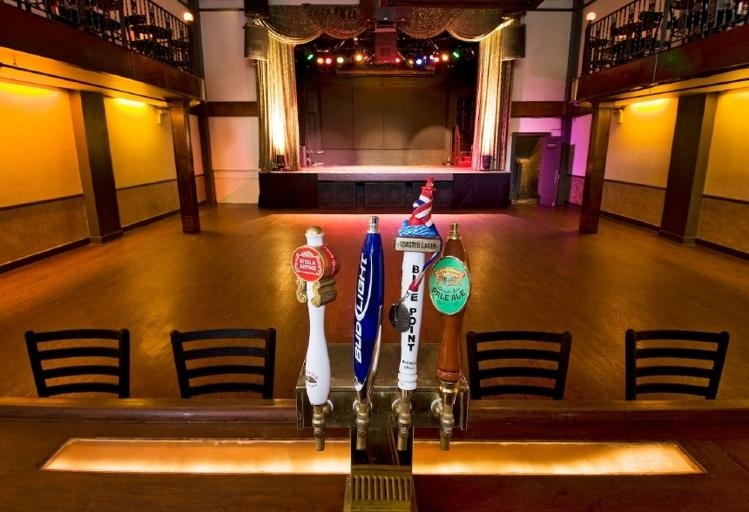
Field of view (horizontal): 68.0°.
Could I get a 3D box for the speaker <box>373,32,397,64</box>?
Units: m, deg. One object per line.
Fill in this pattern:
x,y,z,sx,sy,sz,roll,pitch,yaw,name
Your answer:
0.253,-4.641,12.420,0.585,0.513,0.862,-1,-54,2,speaker

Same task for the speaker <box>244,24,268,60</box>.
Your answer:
-2.520,-4.582,11.855,0.649,0.269,0.834,-9,-56,-29,speaker
